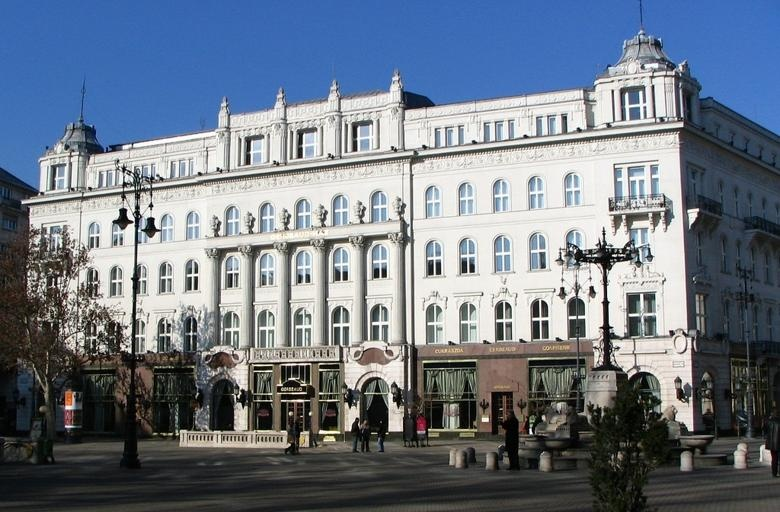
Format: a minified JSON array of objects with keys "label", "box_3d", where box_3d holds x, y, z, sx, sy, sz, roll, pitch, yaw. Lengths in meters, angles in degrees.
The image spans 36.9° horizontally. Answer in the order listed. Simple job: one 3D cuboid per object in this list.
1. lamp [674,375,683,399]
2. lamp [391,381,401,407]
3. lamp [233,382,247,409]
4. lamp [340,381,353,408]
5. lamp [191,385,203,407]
[{"label":"lamp","box_3d":[19.631,8.927,79.281,0.668,1.506,0.470,-3,-14,11]},{"label":"lamp","box_3d":[0.465,9.931,84.634,0.651,1.740,0.862,9,-16,-33]},{"label":"lamp","box_3d":[-11.362,10.469,88.537,1.042,1.818,0.631,-2,-14,10]},{"label":"lamp","box_3d":[-3.169,10.207,85.798,0.938,1.611,0.786,-7,-15,27]},{"label":"lamp","box_3d":[-14.918,10.843,90.042,0.970,1.506,0.418,-3,-4,34]}]
